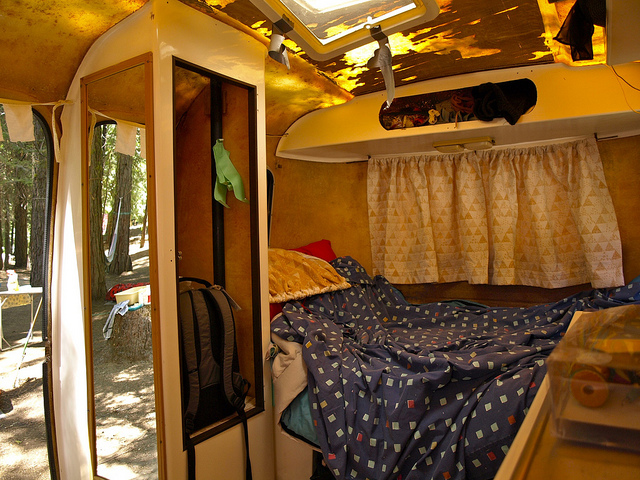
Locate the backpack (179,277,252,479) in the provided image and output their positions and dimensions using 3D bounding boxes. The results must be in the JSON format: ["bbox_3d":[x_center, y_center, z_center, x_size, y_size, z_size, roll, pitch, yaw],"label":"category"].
[{"bbox_3d":[-0.564,0.783,2.688,0.167,1.045,0.504,-7,-5,42],"label":"backpack"}]

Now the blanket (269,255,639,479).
[{"bbox_3d":[0.649,0.301,2.852,1.319,0.625,1.387,-5,9,33],"label":"blanket"}]

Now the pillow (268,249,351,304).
[{"bbox_3d":[-0.137,0.257,3.435,0.379,0.118,0.419,-4,14,-23],"label":"pillow"}]

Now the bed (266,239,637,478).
[{"bbox_3d":[0.490,0.745,2.807,1.951,0.823,1.414,-11,8,26],"label":"bed"}]
